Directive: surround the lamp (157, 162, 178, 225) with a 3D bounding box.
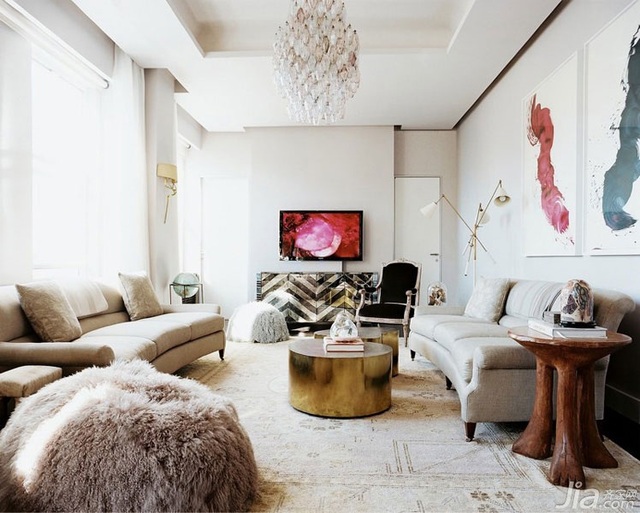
[{"bbox_3d":[-1.750,-0.734,5.435,0.165,0.674,0.490,-1,6,-4],"label":"lamp"}]

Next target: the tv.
[{"bbox_3d":[0.009,-0.315,6.721,1.157,0.691,0.188,0,6,7],"label":"tv"}]

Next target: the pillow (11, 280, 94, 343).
[{"bbox_3d":[-1.851,0.379,3.208,0.232,0.420,0.311,2,7,23],"label":"pillow"}]

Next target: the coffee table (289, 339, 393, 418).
[{"bbox_3d":[0.128,0.808,3.379,0.509,0.279,0.520,0,-1,0],"label":"coffee table"}]

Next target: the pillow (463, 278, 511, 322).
[{"bbox_3d":[1.493,0.381,4.180,0.162,0.395,0.382,26,-4,-18],"label":"pillow"}]
